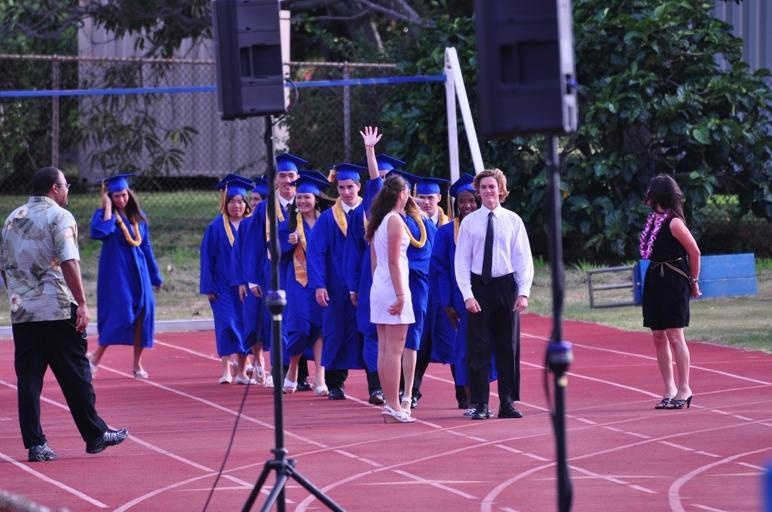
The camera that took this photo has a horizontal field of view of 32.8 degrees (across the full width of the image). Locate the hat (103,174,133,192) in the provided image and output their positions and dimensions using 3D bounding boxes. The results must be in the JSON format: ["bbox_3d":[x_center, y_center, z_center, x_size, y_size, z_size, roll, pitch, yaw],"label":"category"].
[{"bbox_3d":[-3.744,-1.002,18.320,0.365,0.181,0.281,-3,9,21],"label":"hat"}]

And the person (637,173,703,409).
[{"bbox_3d":[3.511,0.446,16.288,0.701,2.861,0.499,0,6,11],"label":"person"}]

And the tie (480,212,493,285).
[{"bbox_3d":[1.245,-0.102,15.924,0.112,0.835,0.160,4,8,40],"label":"tie"}]

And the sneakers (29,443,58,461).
[{"bbox_3d":[-3.931,2.246,15.071,0.380,0.212,0.145,0,2,-39],"label":"sneakers"}]
